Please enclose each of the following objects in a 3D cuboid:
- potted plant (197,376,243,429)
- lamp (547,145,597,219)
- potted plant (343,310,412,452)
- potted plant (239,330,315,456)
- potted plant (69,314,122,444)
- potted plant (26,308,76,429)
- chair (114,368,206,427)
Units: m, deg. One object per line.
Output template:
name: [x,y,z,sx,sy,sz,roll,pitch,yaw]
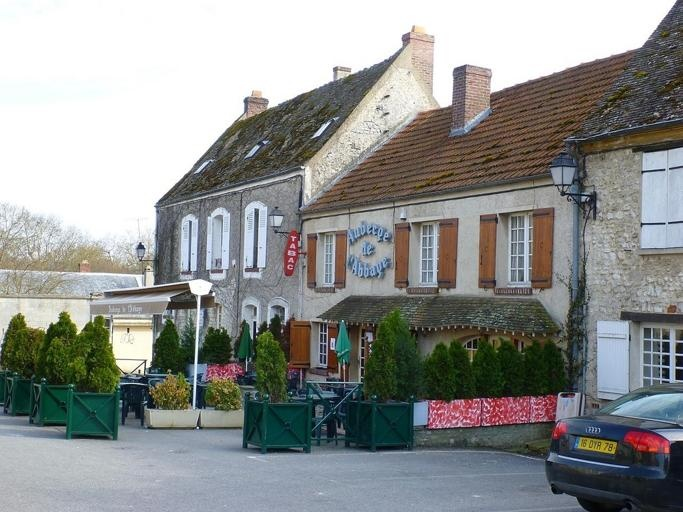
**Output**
potted plant: [-2.673,3.403,30.887,1.133,1.413,0.956,1,-1,0]
lamp: [5.008,-1.651,29.635,0.698,1.596,1.062,-5,-10,37]
potted plant: [0.908,2.611,28.881,1.461,2.959,0.919,0,-7,3]
potted plant: [-1.343,2.787,28.287,1.284,2.528,1.552,3,-8,-16]
potted plant: [-5.101,2.505,28.375,1.056,2.583,0.810,3,-8,-13]
potted plant: [-6.220,2.360,29.936,1.088,2.545,1.057,13,1,-36]
chair: [-4.261,3.380,31.491,1.497,1.207,2.862,4,-9,-19]
